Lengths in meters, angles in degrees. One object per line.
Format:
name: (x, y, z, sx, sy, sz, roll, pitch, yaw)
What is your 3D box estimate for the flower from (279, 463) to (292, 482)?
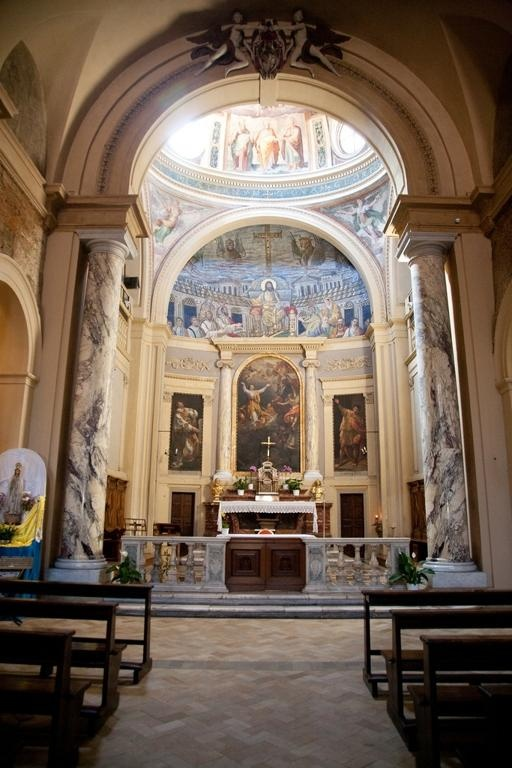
flower: (0.948, 2.900, 17.443, 0.241, 0.583, 0.291, 20, -26, -29)

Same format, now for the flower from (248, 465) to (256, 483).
flower: (-0.132, 2.936, 17.488, 0.338, 0.621, 0.327, 4, -52, -4)

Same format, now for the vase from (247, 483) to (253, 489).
vase: (-0.178, 3.259, 17.148, 0.122, 0.137, 0.120, 16, -28, -31)

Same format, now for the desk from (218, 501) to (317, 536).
desk: (0.313, 3.268, 13.534, 1.774, 0.666, 3.023, -10, -16, 36)

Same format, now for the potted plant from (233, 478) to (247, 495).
potted plant: (-0.473, 3.152, 16.447, 0.385, 0.448, 0.437, 2, -17, -4)

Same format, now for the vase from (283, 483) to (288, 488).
vase: (0.910, 3.162, 16.626, 0.131, 0.104, 0.139, -1, -15, 12)

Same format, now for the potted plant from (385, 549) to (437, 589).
potted plant: (2.042, 2.544, 7.149, 0.555, 0.389, 0.557, -2, -5, 41)
